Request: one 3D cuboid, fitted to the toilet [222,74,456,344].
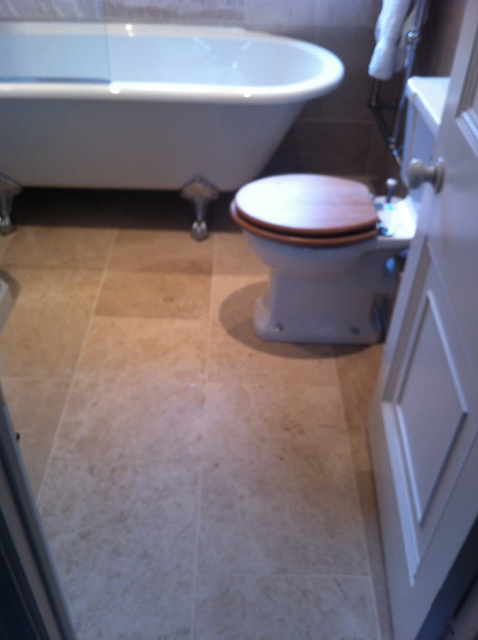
[{"bbox_3d":[0.287,-0.314,1.529,0.592,0.820,0.427,4,38,9],"label":"toilet"}]

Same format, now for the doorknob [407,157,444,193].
[{"bbox_3d":[0.282,-0.222,0.765,0.052,0.059,0.057,-2,9,-5],"label":"doorknob"}]
